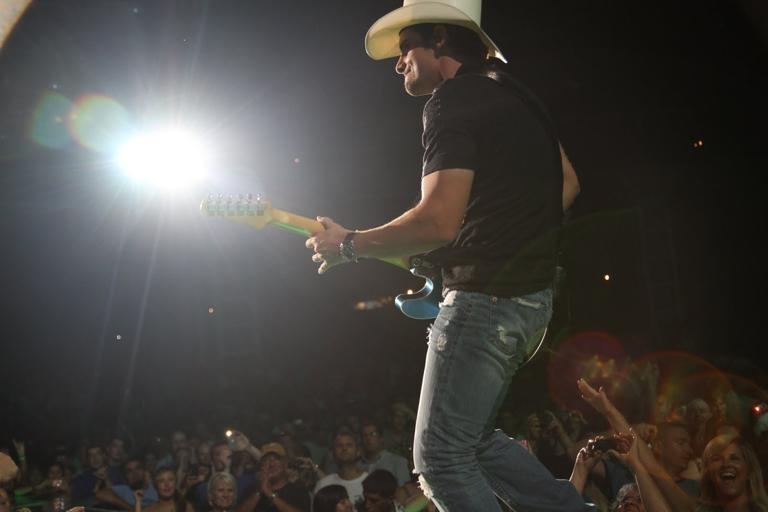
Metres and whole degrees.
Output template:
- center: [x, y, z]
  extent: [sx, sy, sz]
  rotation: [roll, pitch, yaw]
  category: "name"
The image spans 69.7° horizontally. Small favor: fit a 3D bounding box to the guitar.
- center: [-0.245, 0.359, 5.866]
  extent: [2.211, 0.875, 0.322]
  rotation: [22, 1, -9]
  category: "guitar"
